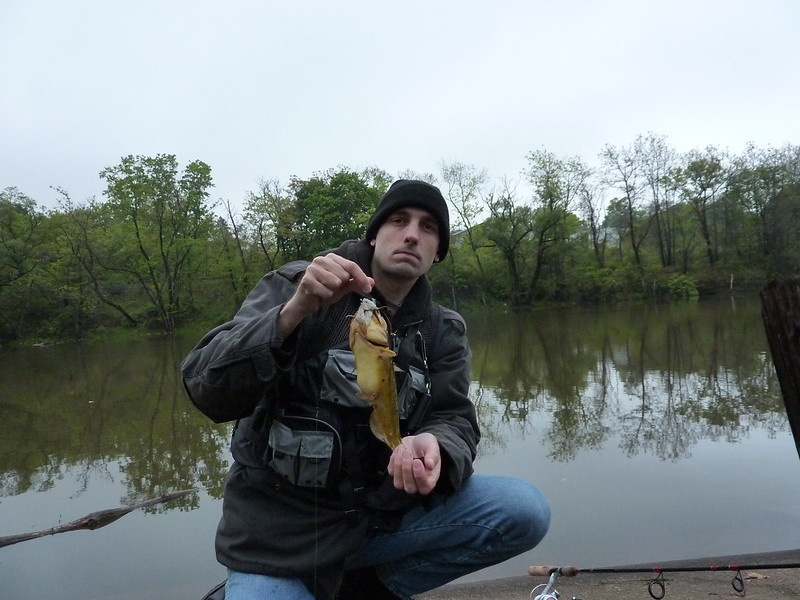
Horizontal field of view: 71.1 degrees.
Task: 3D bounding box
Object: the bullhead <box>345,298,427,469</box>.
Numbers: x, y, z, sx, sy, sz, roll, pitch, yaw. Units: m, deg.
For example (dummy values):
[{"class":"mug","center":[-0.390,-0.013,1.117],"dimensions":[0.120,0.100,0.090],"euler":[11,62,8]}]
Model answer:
[{"class":"bullhead","center":[-0.106,0.617,4.291],"dimensions":[0.385,1.193,0.374],"euler":[-20,31,-25]}]
